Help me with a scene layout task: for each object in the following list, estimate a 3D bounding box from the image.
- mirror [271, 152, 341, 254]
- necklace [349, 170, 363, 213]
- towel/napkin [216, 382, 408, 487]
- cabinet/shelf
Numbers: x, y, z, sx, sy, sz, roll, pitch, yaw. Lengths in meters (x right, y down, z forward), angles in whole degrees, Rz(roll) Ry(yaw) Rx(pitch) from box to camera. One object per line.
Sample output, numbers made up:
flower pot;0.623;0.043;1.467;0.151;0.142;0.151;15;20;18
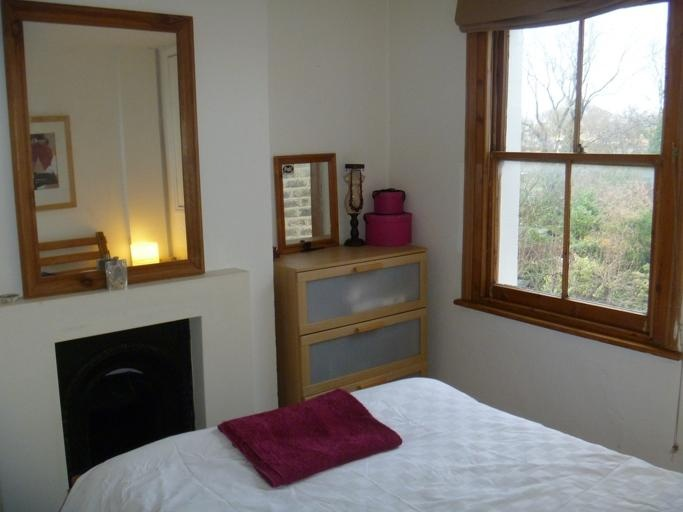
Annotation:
mirror;-0.263;-0.367;3.523;0.599;0.829;0.059;-7;8;-32
necklace;0.096;-0.452;3.662;0.099;0.297;0.045;-5;12;-14
towel/napkin;-0.134;0.722;2.086;0.364;0.055;0.351;-8;19;-32
cabinet/shelf;0.032;0.418;3.253;0.897;0.909;0.366;-6;7;-37
